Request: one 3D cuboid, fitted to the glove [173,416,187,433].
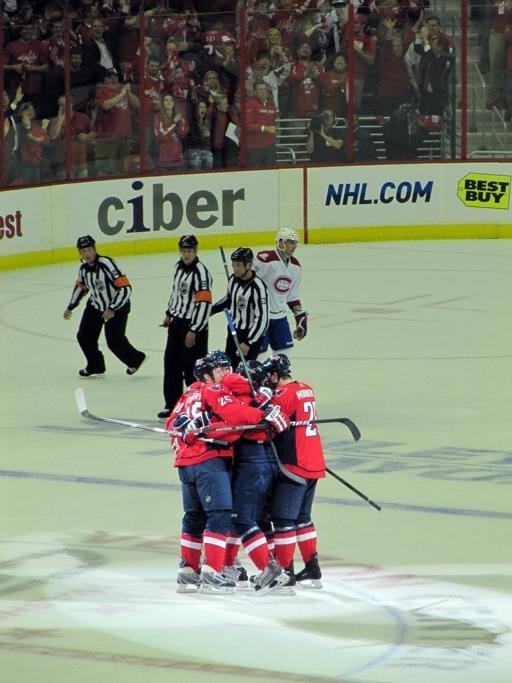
[{"bbox_3d":[-0.368,0.403,4.504,0.065,0.059,0.090,3,32,6],"label":"glove"}]

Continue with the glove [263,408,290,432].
[{"bbox_3d":[0.086,0.394,4.541,0.119,0.114,0.039,-39,8,-41],"label":"glove"}]

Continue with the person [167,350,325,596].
[{"bbox_3d":[-0.073,0.653,4.638,0.708,1.163,0.638,-2,6,-5],"label":"person"}]

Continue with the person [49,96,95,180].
[{"bbox_3d":[-3.385,-3.694,16.651,0.261,1.435,0.926,4,8,40],"label":"person"}]

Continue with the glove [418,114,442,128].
[{"bbox_3d":[3.581,-4.467,18.605,0.426,0.223,0.282,3,1,7],"label":"glove"}]

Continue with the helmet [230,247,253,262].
[{"bbox_3d":[-0.124,-0.709,7.498,0.117,0.104,0.165,14,18,36],"label":"helmet"}]

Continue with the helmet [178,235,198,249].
[{"bbox_3d":[-0.592,-0.892,8.270,0.154,0.155,0.173,0,-8,-15],"label":"helmet"}]

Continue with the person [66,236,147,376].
[{"bbox_3d":[-1.668,-0.366,9.944,0.774,1.533,0.589,0,6,17],"label":"person"}]

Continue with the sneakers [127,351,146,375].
[{"bbox_3d":[-1.319,0.243,10.144,0.139,0.300,0.141,10,43,-16],"label":"sneakers"}]

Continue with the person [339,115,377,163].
[{"bbox_3d":[2.108,-4.099,18.641,0.692,0.843,0.231,-5,20,-6],"label":"person"}]

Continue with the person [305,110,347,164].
[{"bbox_3d":[1.432,-4.013,18.510,0.843,1.142,0.669,0,5,-7],"label":"person"}]

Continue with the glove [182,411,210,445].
[{"bbox_3d":[-0.295,0.428,4.471,0.176,0.063,0.094,-24,33,32],"label":"glove"}]

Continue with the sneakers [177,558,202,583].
[{"bbox_3d":[-0.326,1.121,4.432,0.111,0.113,0.175,-2,5,-6],"label":"sneakers"}]

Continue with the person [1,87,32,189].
[{"bbox_3d":[-4.139,-3.505,15.608,0.181,1.688,0.493,3,7,34],"label":"person"}]

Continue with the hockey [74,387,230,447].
[{"bbox_3d":[-0.631,0.369,5.022,0.943,0.267,0.126,-6,-8,32],"label":"hockey"}]

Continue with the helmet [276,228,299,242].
[{"bbox_3d":[0.300,-0.980,8.461,0.182,0.158,0.134,3,6,20],"label":"helmet"}]

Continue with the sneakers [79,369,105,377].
[{"bbox_3d":[-1.806,0.352,10.073,0.290,0.105,0.101,4,9,-8],"label":"sneakers"}]

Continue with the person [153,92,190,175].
[{"bbox_3d":[-1.641,-3.998,17.527,0.638,1.411,0.241,-2,6,-9],"label":"person"}]

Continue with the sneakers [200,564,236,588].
[{"bbox_3d":[-0.183,1.140,4.398,0.167,0.128,0.081,-2,6,-10],"label":"sneakers"}]
